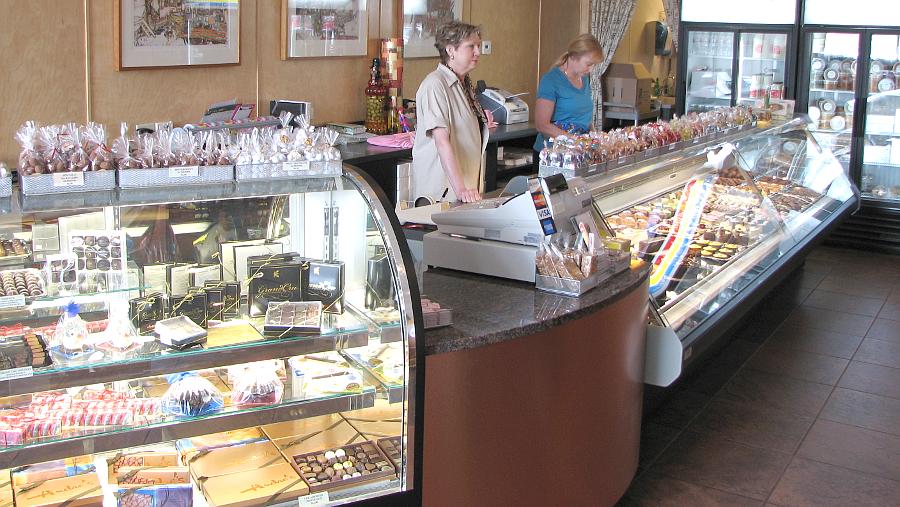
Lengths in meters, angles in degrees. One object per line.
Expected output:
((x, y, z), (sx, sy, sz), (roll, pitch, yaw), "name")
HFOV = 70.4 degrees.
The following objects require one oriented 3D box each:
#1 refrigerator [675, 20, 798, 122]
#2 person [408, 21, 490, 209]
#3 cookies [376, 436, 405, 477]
((3.361, -2.114, 7.858), (1.463, 1.259, 0.486), (0, 6, -9), "refrigerator")
((-0.021, -1.009, 4.574), (0.590, 1.250, 0.562), (-5, 17, 0), "person")
((-0.259, 0.892, 2.847), (0.171, 0.146, 0.047), (-11, 2, 39), "cookies")
